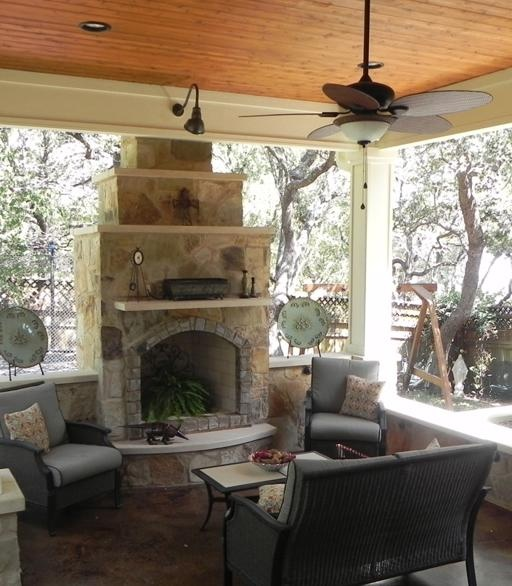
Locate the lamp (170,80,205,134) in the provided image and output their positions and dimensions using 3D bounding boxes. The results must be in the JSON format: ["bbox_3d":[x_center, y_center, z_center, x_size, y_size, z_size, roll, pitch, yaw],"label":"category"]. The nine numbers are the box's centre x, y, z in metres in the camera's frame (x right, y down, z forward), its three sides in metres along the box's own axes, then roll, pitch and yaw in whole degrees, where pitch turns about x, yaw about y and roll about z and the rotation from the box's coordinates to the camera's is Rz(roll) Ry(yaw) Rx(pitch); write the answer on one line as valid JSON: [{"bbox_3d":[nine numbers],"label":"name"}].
[{"bbox_3d":[-0.582,-1.643,4.574,0.212,0.370,0.483,-17,47,-28],"label":"lamp"}]

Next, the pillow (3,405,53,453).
[{"bbox_3d":[-1.800,1.066,4.061,0.208,0.322,0.404,2,9,22],"label":"pillow"}]

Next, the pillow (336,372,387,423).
[{"bbox_3d":[0.980,1.002,5.026,0.413,0.355,0.130,2,-25,35],"label":"pillow"}]

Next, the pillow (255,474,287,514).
[{"bbox_3d":[0.111,1.130,2.883,0.242,0.066,0.208,-11,33,24],"label":"pillow"}]

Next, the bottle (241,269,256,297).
[{"bbox_3d":[-0.077,-0.101,5.457,0.201,0.299,0.157,0,-2,-17],"label":"bottle"}]
